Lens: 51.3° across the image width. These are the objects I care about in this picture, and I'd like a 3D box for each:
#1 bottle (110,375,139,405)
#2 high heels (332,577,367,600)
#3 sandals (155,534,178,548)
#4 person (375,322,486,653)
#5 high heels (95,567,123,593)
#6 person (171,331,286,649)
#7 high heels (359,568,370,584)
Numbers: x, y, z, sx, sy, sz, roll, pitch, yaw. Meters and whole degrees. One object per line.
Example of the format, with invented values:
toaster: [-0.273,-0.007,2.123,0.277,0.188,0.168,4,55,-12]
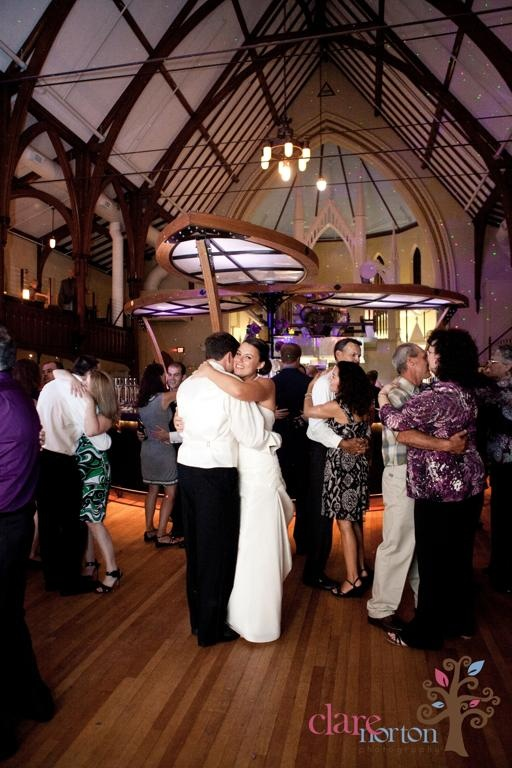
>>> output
bottle: [-1.652,0.072,6.736,0.424,0.480,0.434,1,2,-3]
high heels: [0.564,1.242,3.226,0.191,0.072,0.101,-1,-1,8]
sandals: [-0.716,1.259,4.252,0.226,0.092,0.074,0,1,-36]
person: [0.825,0.507,2.509,0.482,1.534,0.359,0,-1,17]
high heels: [-0.927,1.225,3.333,0.147,0.137,0.084,0,-1,-21]
person: [-0.163,0.622,2.621,0.486,1.346,0.283,0,-1,1]
high heels: [0.681,1.200,3.329,0.036,0.049,0.121,-1,-4,8]
